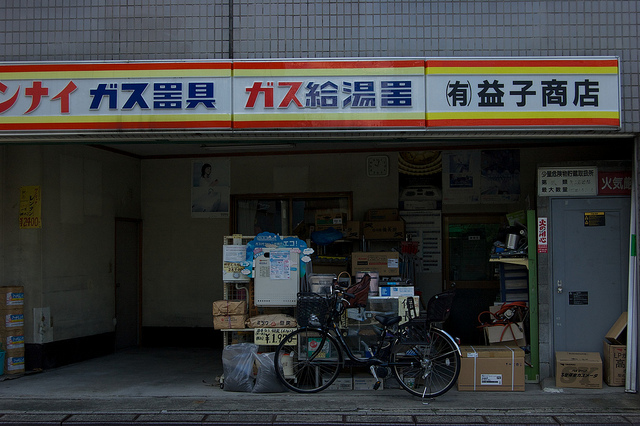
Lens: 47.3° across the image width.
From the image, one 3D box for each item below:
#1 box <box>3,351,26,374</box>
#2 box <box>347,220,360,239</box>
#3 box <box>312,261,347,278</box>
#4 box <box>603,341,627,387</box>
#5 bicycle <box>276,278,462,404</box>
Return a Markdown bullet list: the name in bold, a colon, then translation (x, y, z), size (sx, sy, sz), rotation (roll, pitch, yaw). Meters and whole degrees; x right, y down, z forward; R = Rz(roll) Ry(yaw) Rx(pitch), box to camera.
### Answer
- **box**: translation (-4.726, 2.288, 11.305), size (0.307, 0.330, 0.147), rotation (-8, 14, -27)
- **box**: translation (0.590, 0.280, 12.852), size (0.214, 0.298, 0.134), rotation (-1, 12, 2)
- **box**: translation (0.171, 0.938, 12.897), size (0.709, 0.287, 0.348), rotation (2, 12, 15)
- **box**: translation (4.151, 2.116, 10.276), size (0.333, 0.569, 0.602), rotation (1, -5, 16)
- **bicycle**: translation (0.663, 1.777, 10.289), size (2.605, 1.434, 1.172), rotation (0, -3, 15)
